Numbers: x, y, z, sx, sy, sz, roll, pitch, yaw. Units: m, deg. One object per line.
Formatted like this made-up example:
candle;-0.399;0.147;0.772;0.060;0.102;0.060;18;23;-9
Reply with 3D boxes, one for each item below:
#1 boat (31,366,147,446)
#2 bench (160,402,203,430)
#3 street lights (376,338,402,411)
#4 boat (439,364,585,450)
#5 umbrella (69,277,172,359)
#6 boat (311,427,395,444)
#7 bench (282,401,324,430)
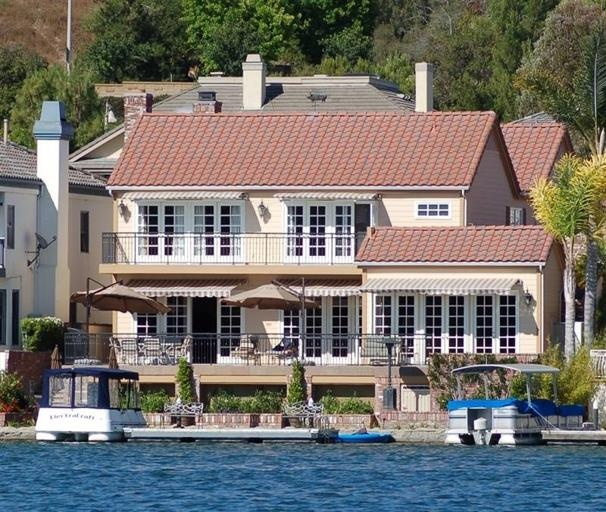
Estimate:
boat;-7.855;5.385;78.651;2.164;2.103;3.483;-1;-5;14
bench;-4.426;5.865;80.672;1.434;0.632;1.065;-3;-2;-6
street lights;3.261;4.315;80.525;0.642;2.575;0.545;-7;-5;34
boat;7.638;5.378;78.906;3.395;3.397;5.630;-4;-6;36
umbrella;-7.116;2.236;83.712;3.597;2.994;4.504;-2;-2;-7
boat;1.964;6.544;78.714;2.745;0.644;1.213;-3;-2;1
bench;0.160;5.855;80.283;1.155;0.612;1.876;-1;-3;-43
